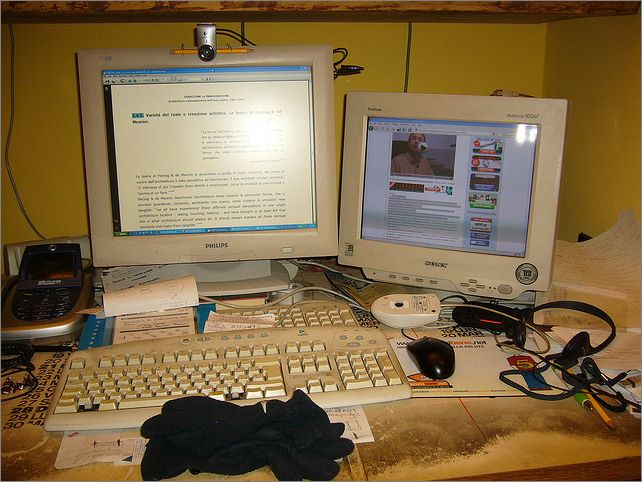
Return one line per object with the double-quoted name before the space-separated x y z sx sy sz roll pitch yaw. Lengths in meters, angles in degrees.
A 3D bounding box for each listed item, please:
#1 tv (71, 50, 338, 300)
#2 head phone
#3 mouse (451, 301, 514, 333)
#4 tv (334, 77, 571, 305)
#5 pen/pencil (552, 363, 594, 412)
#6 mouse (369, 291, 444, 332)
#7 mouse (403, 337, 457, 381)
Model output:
"tv" -0.237 -0.186 1.284 0.704 0.555 0.230 2 17 21
"head phone" 0.547 0.182 1.160 0.219 0.088 0.172 -5 14 -8
"mouse" 0.382 0.172 1.211 0.103 0.028 0.068 6 20 25
"tv" 0.389 -0.134 1.340 0.563 0.456 0.299 12 19 38
"pen/pencil" 0.492 0.287 1.022 0.017 0.025 0.087 37 15 -41
"mouse" 0.196 0.153 1.192 0.143 0.032 0.079 -2 33 0
"mouse" 0.235 0.231 1.098 0.103 0.041 0.134 -12 19 -1
